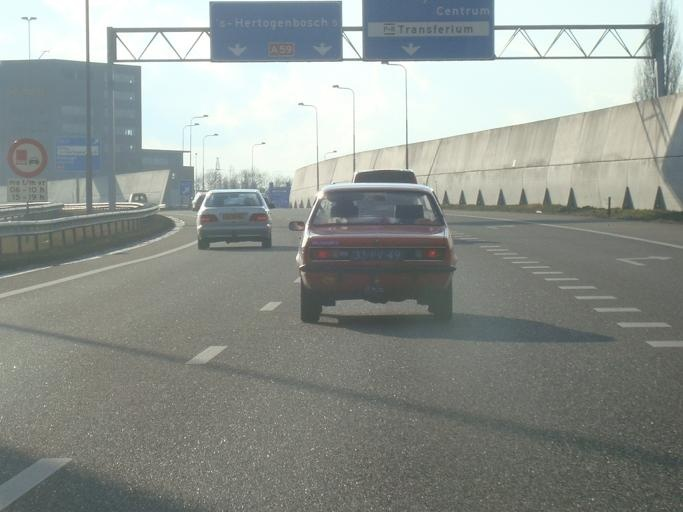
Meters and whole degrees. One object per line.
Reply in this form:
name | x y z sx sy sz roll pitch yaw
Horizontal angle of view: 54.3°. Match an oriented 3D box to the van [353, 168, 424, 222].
van | 1.909 -2.581 27.707 1.597 1.748 3.066 0 10 -1
